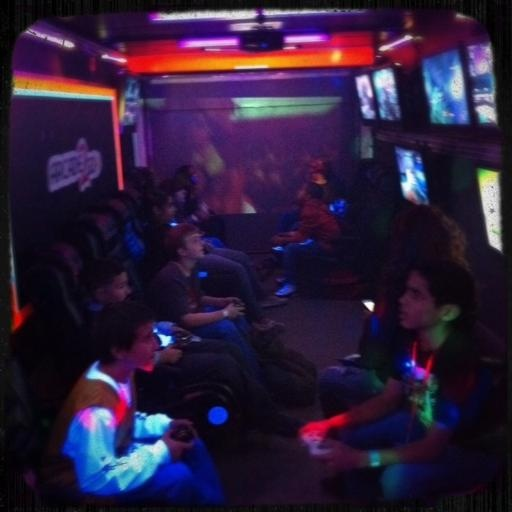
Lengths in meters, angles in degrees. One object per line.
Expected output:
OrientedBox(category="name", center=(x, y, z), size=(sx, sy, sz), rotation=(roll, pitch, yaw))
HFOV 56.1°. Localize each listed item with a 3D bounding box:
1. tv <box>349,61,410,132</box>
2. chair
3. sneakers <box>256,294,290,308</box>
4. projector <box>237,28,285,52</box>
OrientedBox(category="tv", center=(0.596, -0.787, 2.351), size=(0.045, 0.294, 0.336), rotation=(-3, 22, 40))
OrientedBox(category="chair", center=(-0.531, 0.478, 2.442), size=(0.913, 1.210, 1.737), rotation=(-2, 10, -5))
OrientedBox(category="sneakers", center=(0.087, 0.222, 2.346), size=(0.153, 0.069, 0.054), rotation=(-4, -3, 5))
OrientedBox(category="projector", center=(0.022, -0.910, 2.042), size=(0.191, 0.071, 0.090), rotation=(-2, 5, 1))
